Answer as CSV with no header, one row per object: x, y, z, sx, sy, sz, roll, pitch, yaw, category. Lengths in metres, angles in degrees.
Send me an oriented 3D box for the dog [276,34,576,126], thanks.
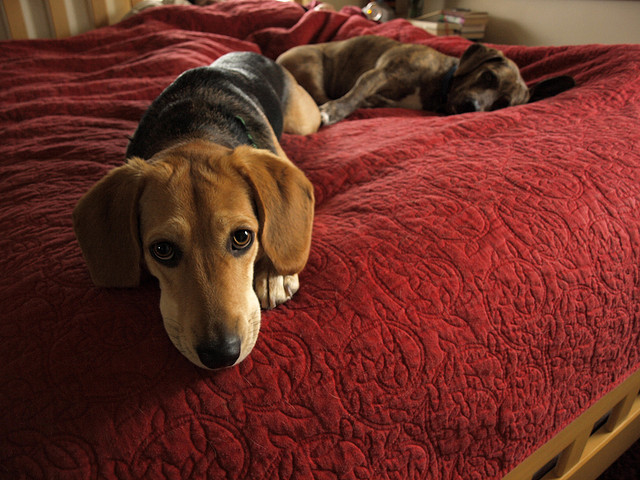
0.446,-0.898,2.878,1.376,0.491,0.634,23,17,32,dog

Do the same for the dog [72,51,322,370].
-0.338,-0.249,1.689,0.552,0.463,1.303,1,43,-2,dog

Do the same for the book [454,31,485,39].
1.237,-1.671,4.408,0.130,0.032,0.133,-2,16,-5,book
